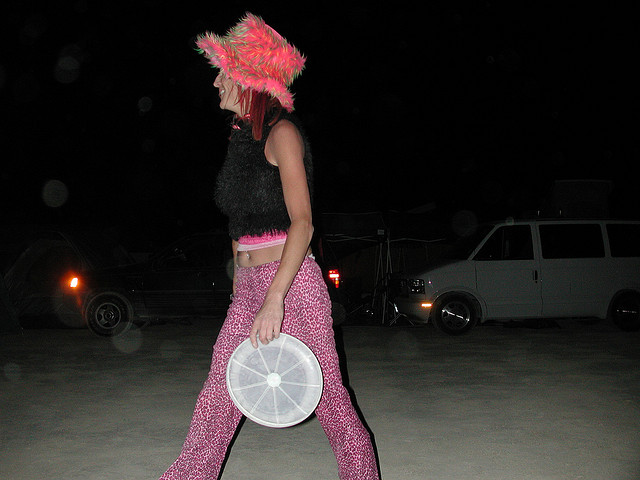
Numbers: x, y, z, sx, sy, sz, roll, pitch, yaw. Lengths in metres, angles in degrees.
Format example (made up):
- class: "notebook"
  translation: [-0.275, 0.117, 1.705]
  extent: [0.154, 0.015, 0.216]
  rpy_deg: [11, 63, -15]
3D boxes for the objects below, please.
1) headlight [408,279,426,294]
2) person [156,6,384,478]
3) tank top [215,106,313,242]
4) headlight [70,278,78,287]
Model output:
- class: "headlight"
  translation: [2.402, 1.161, 10.981]
  extent: [0.335, 0.361, 0.082]
  rpy_deg: [-1, 0, 21]
- class: "person"
  translation: [-0.208, 0.074, 1.745]
  extent: [0.774, 1.878, 0.792]
  rpy_deg: [1, -2, -20]
- class: "tank top"
  translation: [-0.223, -0.191, 1.818]
  extent: [0.402, 0.628, 0.463]
  rpy_deg: [1, -2, -5]
- class: "headlight"
  translation: [-6.149, 1.078, 11.126]
  extent: [0.108, 0.199, 0.046]
  rpy_deg: [13, -11, -1]
